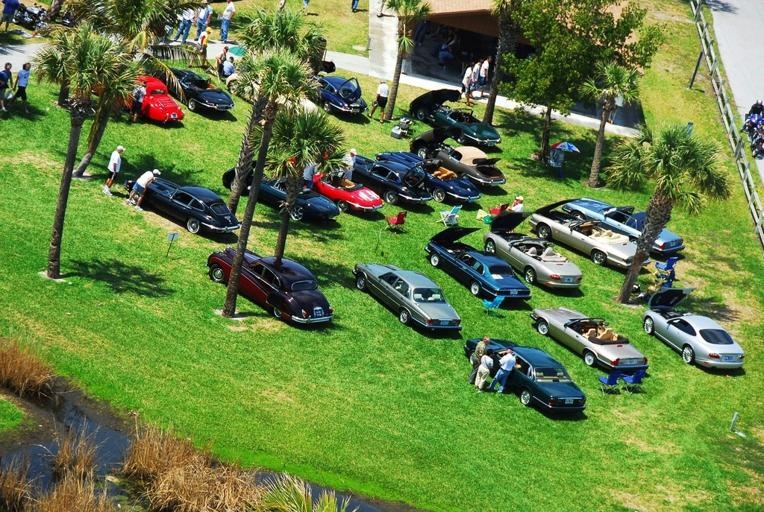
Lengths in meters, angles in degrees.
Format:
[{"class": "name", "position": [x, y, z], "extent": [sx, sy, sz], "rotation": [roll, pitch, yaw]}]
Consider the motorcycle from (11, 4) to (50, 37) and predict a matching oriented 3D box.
[{"class": "motorcycle", "position": [-22.017, -15.126, 79.502], "extent": [2.228, 1.699, 1.056], "rotation": [27, -22, 5]}]

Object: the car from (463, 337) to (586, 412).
[{"class": "car", "position": [7.375, 6.538, 64.350], "extent": [2.741, 1.705, 5.786], "rotation": [-15, 43, -42]}]

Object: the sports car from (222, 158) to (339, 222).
[{"class": "sports car", "position": [-5.559, -3.622, 71.835], "extent": [5.747, 1.772, 3.239], "rotation": [29, 22, 17]}]

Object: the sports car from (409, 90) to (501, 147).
[{"class": "sports car", "position": [4.827, -9.865, 84.398], "extent": [2.500, 3.420, 7.270], "rotation": [-2, 24, -41]}]

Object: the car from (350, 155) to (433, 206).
[{"class": "car", "position": [0.567, -5.121, 74.913], "extent": [6.971, 3.655, 3.093], "rotation": [3, -1, -21]}]

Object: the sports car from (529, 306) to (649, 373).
[{"class": "sports car", "position": [11.071, 4.295, 68.300], "extent": [3.272, 2.225, 6.878], "rotation": [3, 18, -39]}]

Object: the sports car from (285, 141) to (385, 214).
[{"class": "sports car", "position": [-2.579, -4.530, 73.242], "extent": [5.341, 2.518, 2.576], "rotation": [39, 40, 18]}]

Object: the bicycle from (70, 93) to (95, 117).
[{"class": "bicycle", "position": [-14.592, -7.431, 61.555], "extent": [1.238, 1.080, 0.730], "rotation": [9, 16, -19]}]

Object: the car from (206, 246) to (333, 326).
[{"class": "car", "position": [-5.369, 2.013, 64.516], "extent": [6.991, 3.666, 3.255], "rotation": [11, 10, 36]}]

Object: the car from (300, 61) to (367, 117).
[{"class": "car", "position": [-3.038, -10.759, 82.450], "extent": [2.384, 2.285, 4.400], "rotation": [-19, 50, -36]}]

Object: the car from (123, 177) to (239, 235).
[{"class": "car", "position": [-9.926, -2.971, 68.677], "extent": [6.062, 1.871, 2.492], "rotation": [32, 28, 13]}]
